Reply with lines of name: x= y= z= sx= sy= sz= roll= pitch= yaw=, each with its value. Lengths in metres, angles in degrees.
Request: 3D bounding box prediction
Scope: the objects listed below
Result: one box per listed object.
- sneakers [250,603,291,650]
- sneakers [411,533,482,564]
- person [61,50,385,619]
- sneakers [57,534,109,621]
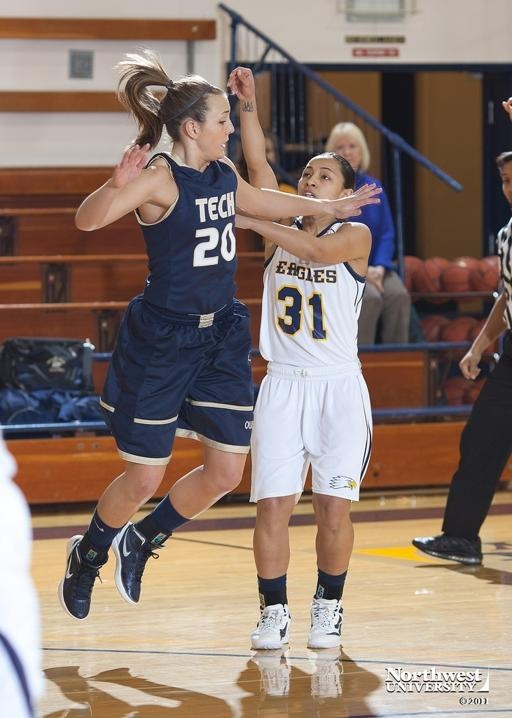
sneakers: x=0.036 y=0.670 z=2.289 sx=0.066 sy=0.064 sz=0.154 roll=-2 pitch=-11 yaw=8
sneakers: x=0.681 y=0.675 z=3.306 sx=0.250 sy=0.104 sz=0.091 roll=9 pitch=-12 yaw=5
person: x=-0.142 y=-0.047 z=2.260 sx=0.672 sy=1.373 sz=0.639 roll=-1 pitch=0 yaw=-12
sneakers: x=-0.453 y=0.575 z=2.391 sx=0.093 sy=0.252 sz=0.122 roll=18 pitch=-41 yaw=-35
